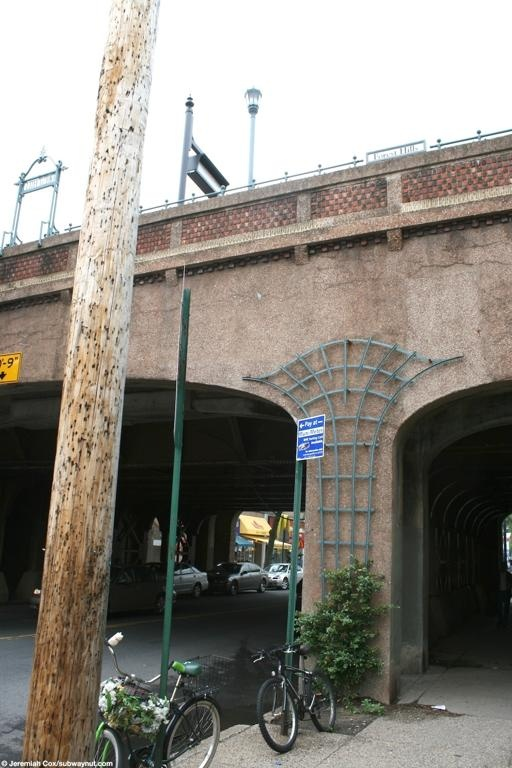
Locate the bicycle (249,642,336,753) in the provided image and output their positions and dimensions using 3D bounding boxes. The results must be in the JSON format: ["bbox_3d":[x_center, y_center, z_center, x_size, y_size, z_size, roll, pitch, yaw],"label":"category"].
[{"bbox_3d":[0.200,3.078,6.211,0.650,0.854,1.410,-21,-33,20],"label":"bicycle"}]

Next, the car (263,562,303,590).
[{"bbox_3d":[1.343,11.218,37.067,1.213,1.390,2.657,1,-17,2],"label":"car"}]

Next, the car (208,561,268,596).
[{"bbox_3d":[-1.023,9.854,32.296,1.281,1.108,3.257,-8,-27,22],"label":"car"}]
